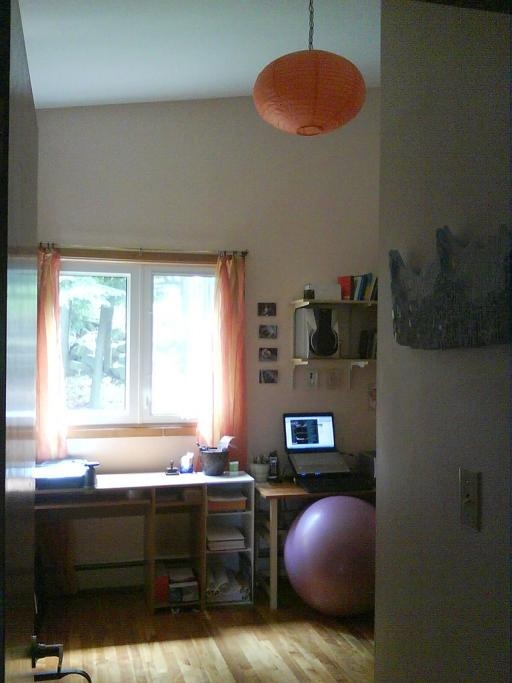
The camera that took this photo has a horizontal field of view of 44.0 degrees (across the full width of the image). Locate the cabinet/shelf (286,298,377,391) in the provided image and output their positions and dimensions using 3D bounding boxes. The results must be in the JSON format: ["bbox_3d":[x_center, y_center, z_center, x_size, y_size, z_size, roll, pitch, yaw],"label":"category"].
[{"bbox_3d":[0.452,0.022,3.836,0.432,0.523,0.271,0,0,-20],"label":"cabinet/shelf"}]

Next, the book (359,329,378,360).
[{"bbox_3d":[0.669,0.021,3.784,0.099,0.174,0.179,2,0,-4],"label":"book"}]

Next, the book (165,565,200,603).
[{"bbox_3d":[-0.389,1.274,3.341,0.117,0.164,0.057,0,-8,-9],"label":"book"}]

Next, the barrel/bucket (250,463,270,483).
[{"bbox_3d":[0.022,0.749,3.650,0.101,0.103,0.101,1,4,0],"label":"barrel/bucket"}]

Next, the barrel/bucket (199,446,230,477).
[{"bbox_3d":[-0.234,0.667,3.515,0.147,0.115,0.133,5,-10,-26],"label":"barrel/bucket"}]

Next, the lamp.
[{"bbox_3d":[0.154,-0.791,2.036,0.302,0.504,0.320,1,3,22],"label":"lamp"}]

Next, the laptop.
[{"bbox_3d":[0.357,0.588,3.727,0.370,0.256,0.385,-3,10,-24],"label":"laptop"}]

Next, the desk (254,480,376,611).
[{"bbox_3d":[0.288,1.144,3.618,0.618,0.587,0.625,2,-6,-10],"label":"desk"}]

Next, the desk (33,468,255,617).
[{"bbox_3d":[-0.557,1.060,3.464,1.196,0.688,0.501,1,-2,-12],"label":"desk"}]
